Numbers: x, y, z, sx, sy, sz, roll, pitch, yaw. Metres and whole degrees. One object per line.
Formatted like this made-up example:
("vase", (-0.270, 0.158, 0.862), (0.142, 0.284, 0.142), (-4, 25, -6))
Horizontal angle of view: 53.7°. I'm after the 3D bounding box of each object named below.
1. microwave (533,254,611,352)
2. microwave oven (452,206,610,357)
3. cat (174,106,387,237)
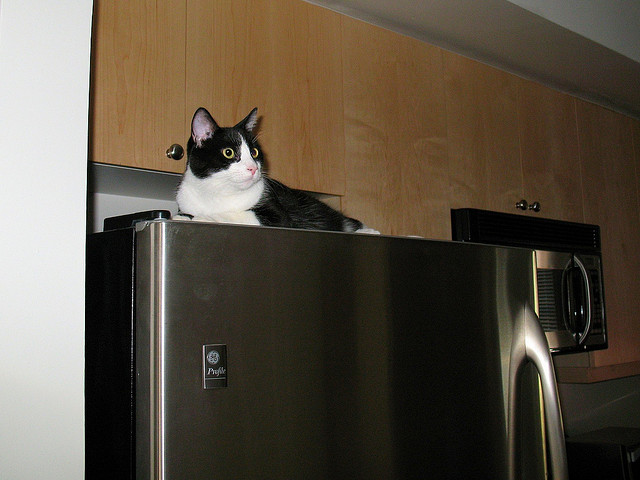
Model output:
("microwave", (0.779, 0.192, 1.883), (0.130, 0.315, 0.511), (-2, -1, 34))
("microwave oven", (0.596, 0.161, 1.832), (0.432, 0.401, 0.278), (3, -12, -17))
("cat", (-0.065, -0.137, 1.420), (0.552, 0.371, 0.205), (-1, 0, -37))
